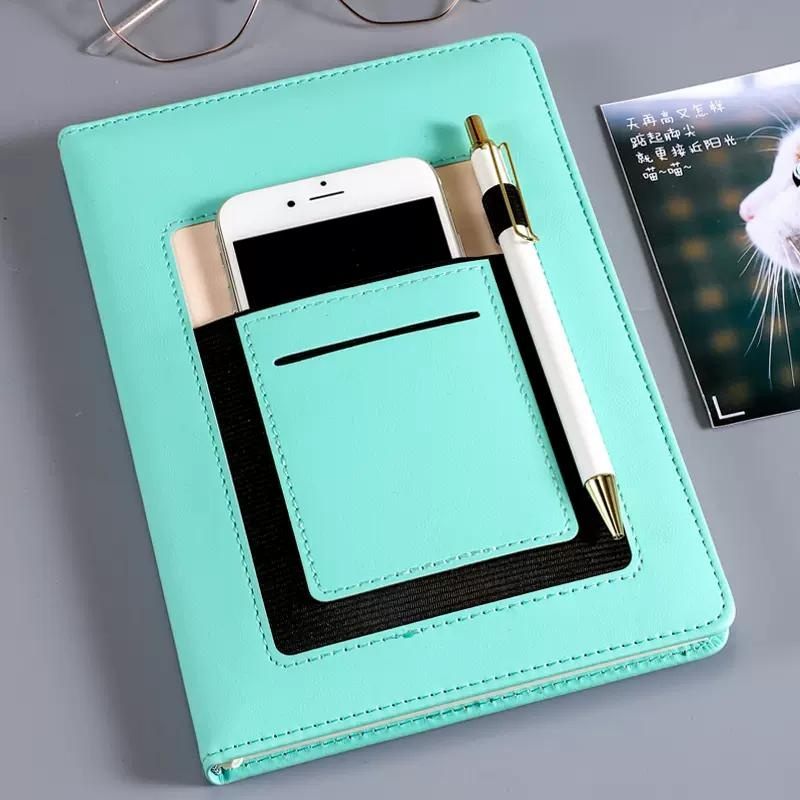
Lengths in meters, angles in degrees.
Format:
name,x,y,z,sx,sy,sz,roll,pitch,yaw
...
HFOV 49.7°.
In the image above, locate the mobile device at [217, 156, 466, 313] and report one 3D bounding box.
name,x,y,z,sx,sy,sz,roll,pitch,yaw
mobile device,-0.045,-0.121,0.748,0.185,0.025,0.247,-13,-30,0
